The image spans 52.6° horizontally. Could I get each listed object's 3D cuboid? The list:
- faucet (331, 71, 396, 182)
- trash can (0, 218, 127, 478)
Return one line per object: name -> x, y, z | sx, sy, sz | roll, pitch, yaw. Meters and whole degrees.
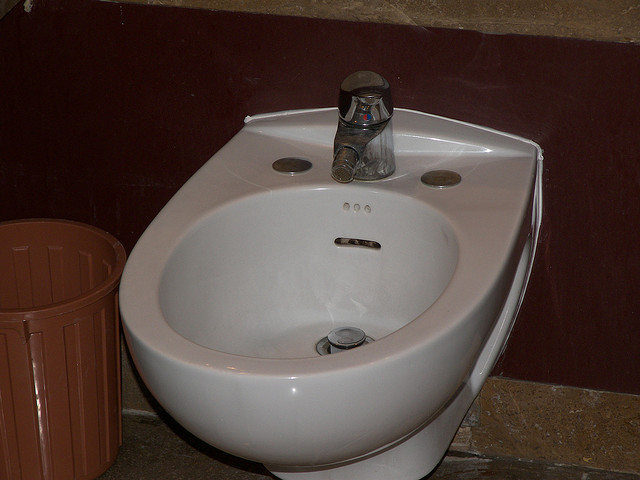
faucet -> 0.066, -0.176, 1.036 | 0.095, 0.164, 0.163 | 14, 45, 18
trash can -> -0.508, 0.225, 1.295 | 0.253, 0.480, 0.256 | -5, 26, -17
